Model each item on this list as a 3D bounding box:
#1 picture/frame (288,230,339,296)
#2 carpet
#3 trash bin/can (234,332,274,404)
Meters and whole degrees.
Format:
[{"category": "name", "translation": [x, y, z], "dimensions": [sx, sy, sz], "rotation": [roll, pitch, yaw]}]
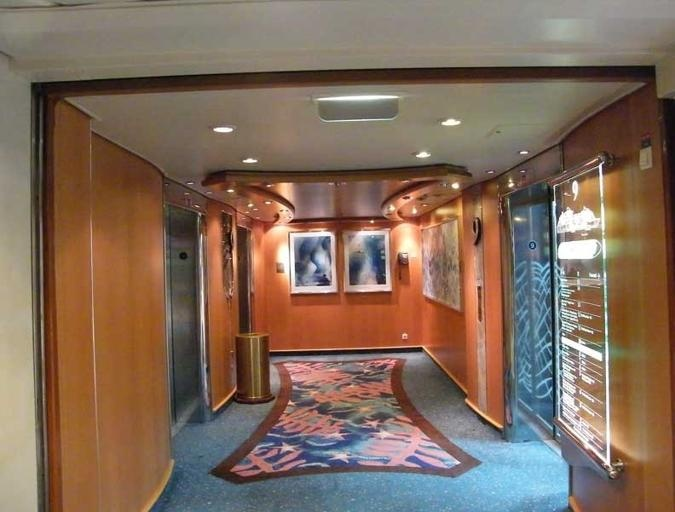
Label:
[{"category": "picture/frame", "translation": [-0.483, 0.162, 10.042], "dimensions": [1.095, 1.574, 0.069], "rotation": [-1, -2, 0]}, {"category": "carpet", "translation": [-0.345, 2.122, 7.138], "dimensions": [1.745, 0.033, 3.519], "rotation": [-22, -16, -39]}, {"category": "trash bin/can", "translation": [-1.133, 1.490, 7.138], "dimensions": [0.572, 0.900, 0.591], "rotation": [-4, -2, 5]}]
